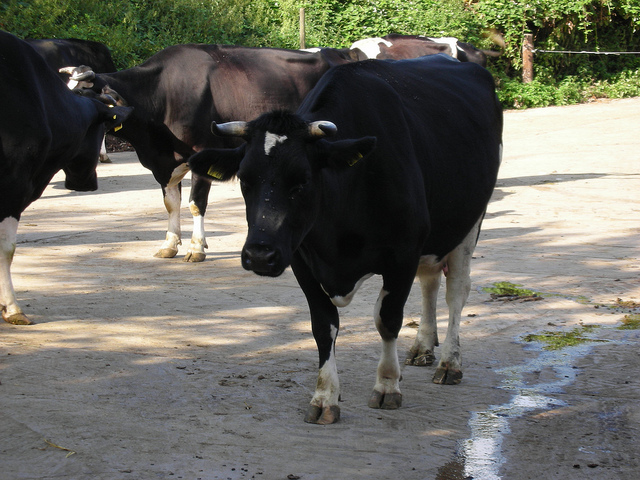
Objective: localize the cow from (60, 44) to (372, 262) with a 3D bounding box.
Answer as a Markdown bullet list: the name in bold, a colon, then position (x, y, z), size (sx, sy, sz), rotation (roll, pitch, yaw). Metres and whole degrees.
- **cow**: position (-1.790, -1.277, 11.428), size (1.995, 2.503, 6.484), rotation (12, 17, 17)

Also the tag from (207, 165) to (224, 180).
- **tag**: position (-0.740, -0.475, 5.975), size (0.104, 0.087, 0.028), rotation (2, 16, 19)
